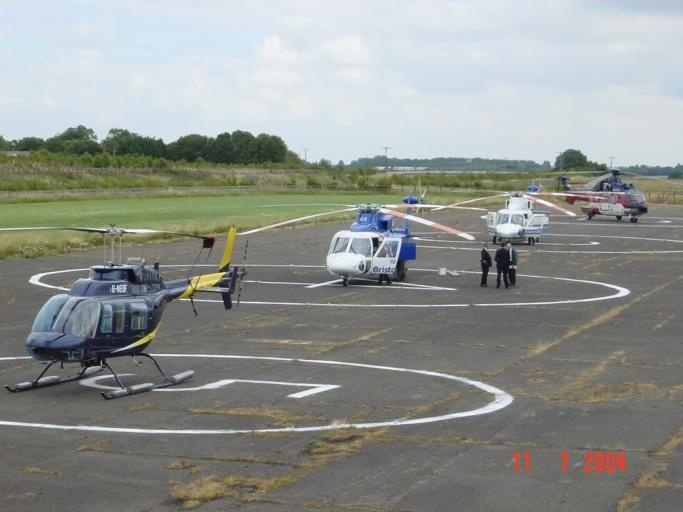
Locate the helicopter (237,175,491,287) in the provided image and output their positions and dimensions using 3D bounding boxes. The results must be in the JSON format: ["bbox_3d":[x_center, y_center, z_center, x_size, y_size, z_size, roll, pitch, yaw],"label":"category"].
[{"bbox_3d":[1.317,-0.762,41.725,12.424,3.457,11.658,1,3,14],"label":"helicopter"}]
